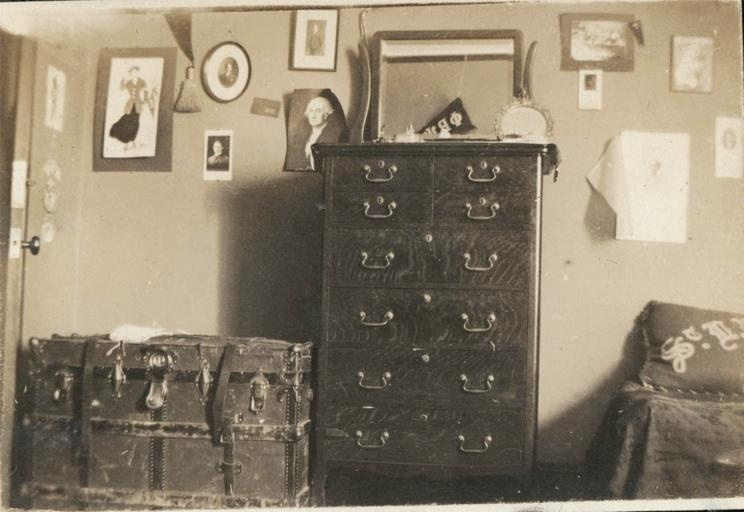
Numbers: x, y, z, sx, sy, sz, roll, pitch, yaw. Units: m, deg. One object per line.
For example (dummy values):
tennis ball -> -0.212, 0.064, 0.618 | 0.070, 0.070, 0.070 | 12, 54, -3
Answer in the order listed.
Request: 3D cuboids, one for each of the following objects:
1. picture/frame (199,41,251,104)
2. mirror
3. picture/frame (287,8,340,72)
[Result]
picture/frame -> -1.012, -1.269, 7.013 | 0.418, 0.499, 0.065 | 0, -5, 3
mirror -> 0.562, -1.134, 6.833 | 0.785, 0.623, 0.058 | 0, -4, 2
picture/frame -> -0.387, -1.493, 6.965 | 0.406, 0.478, 0.034 | 3, 5, 6
